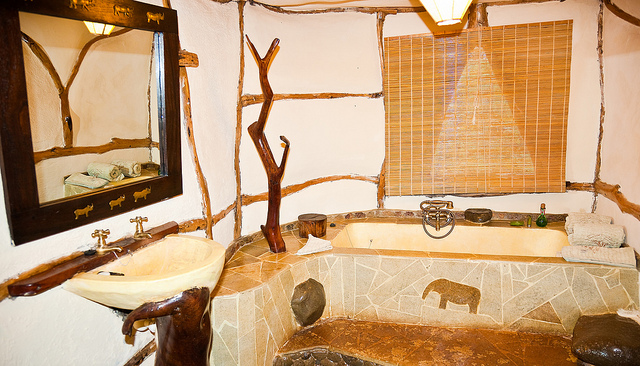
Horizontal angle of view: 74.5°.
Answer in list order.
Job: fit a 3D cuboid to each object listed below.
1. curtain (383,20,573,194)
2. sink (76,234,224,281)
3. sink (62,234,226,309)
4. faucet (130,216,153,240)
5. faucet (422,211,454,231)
[{"bbox_3d":[1.998,-0.870,5.146,2.459,1.918,0.051,-5,8,-15],"label":"curtain"},{"bbox_3d":[-1.273,0.660,3.329,0.701,0.317,0.879,7,9,36],"label":"sink"},{"bbox_3d":[-1.275,0.816,3.530,0.866,0.423,1.223,3,10,9],"label":"sink"},{"bbox_3d":[-1.441,0.375,3.552,0.205,0.197,0.154,3,2,21],"label":"faucet"},{"bbox_3d":[1.437,0.453,5.108,0.363,0.223,0.113,-1,-2,8],"label":"faucet"}]
